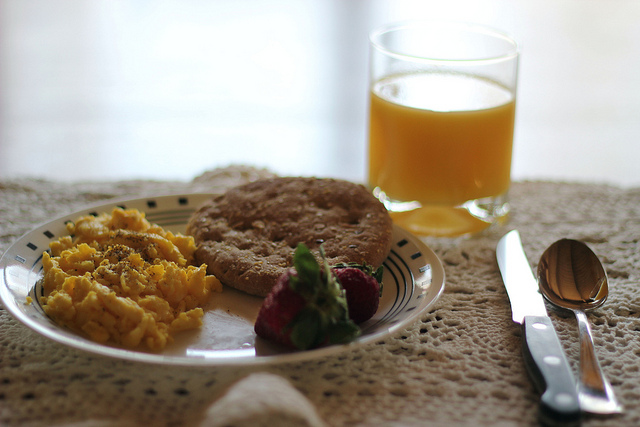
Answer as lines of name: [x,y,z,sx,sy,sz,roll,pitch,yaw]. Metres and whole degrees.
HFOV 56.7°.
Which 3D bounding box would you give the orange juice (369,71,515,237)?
orange juice: [0.366,-0.227,1.682,0.384,0.423,0.386,6,30,26]
